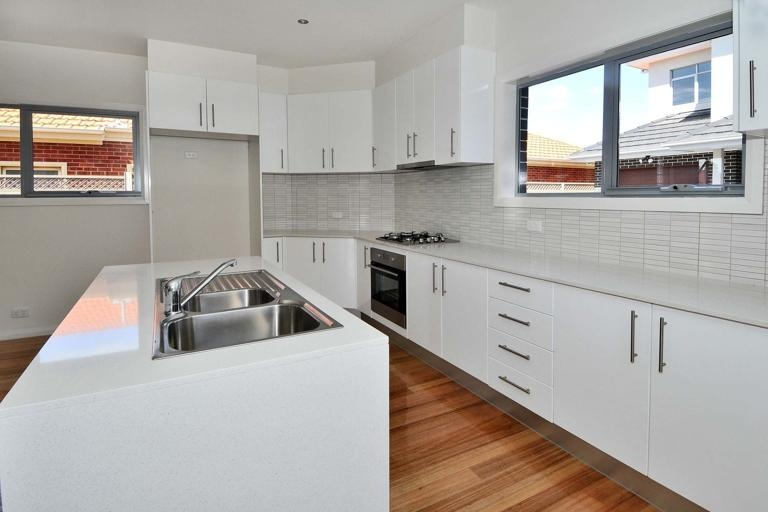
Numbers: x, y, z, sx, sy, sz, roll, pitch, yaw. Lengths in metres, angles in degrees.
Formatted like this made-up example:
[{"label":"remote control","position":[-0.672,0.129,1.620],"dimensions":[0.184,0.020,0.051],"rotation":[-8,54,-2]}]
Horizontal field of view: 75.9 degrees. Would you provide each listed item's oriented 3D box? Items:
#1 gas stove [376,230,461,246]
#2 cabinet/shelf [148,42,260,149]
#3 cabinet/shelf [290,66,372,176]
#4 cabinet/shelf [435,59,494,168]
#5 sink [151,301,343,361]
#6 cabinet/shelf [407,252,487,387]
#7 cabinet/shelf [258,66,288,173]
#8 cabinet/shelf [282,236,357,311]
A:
[{"label":"gas stove","position":[0.344,-0.184,4.856],"dimensions":[0.650,0.072,0.701],"rotation":[-4,10,-23]},{"label":"cabinet/shelf","position":[-1.874,-1.737,5.147],"dimensions":[1.086,0.864,0.394],"rotation":[-1,17,-22]},{"label":"cabinet/shelf","position":[-0.585,-1.441,5.768],"dimensions":[1.035,0.993,0.407],"rotation":[0,1,14]},{"label":"cabinet/shelf","position":[0.709,-1.319,4.311],"dimensions":[0.517,0.964,0.327],"rotation":[0,9,4]},{"label":"sink","position":[-0.726,0.360,2.456],"dimensions":[0.484,0.180,0.382],"rotation":[-2,8,-32]},{"label":"cabinet/shelf","position":[0.531,0.505,3.991],"dimensions":[0.408,0.877,1.051],"rotation":[-2,6,-30]},{"label":"cabinet/shelf","position":[-1.334,-1.410,5.756],"dimensions":[0.358,0.840,0.328],"rotation":[-3,11,-17]},{"label":"cabinet/shelf","position":[-0.805,0.184,5.652],"dimensions":[0.961,0.794,0.341],"rotation":[3,-9,-33]}]
